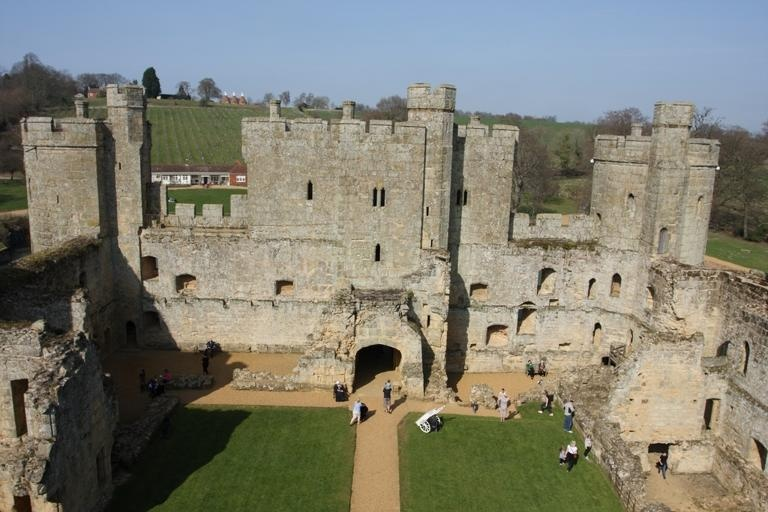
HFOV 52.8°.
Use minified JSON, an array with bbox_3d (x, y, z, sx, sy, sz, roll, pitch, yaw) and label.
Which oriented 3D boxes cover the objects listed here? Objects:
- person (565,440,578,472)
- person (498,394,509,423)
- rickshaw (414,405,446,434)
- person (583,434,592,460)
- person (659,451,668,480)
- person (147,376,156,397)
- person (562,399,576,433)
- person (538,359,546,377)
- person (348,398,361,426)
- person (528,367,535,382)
[{"bbox_3d":[10.391,11.037,43.035,0.630,1.283,1.163,5,14,20],"label":"person"},{"bbox_3d":[7.123,8.919,46.605,0.672,1.567,1.376,3,13,8],"label":"person"},{"bbox_3d":[2.701,9.696,45.275,1.834,0.593,1.051,-37,12,0],"label":"rickshaw"},{"bbox_3d":[11.567,10.747,43.935,0.455,1.099,0.924,5,13,17],"label":"person"},{"bbox_3d":[16.289,12.294,45.225,0.289,1.134,0.699,5,3,14],"label":"person"},{"bbox_3d":[-14.074,8.028,47.444,0.795,1.003,0.346,1,-3,24],"label":"person"},{"bbox_3d":[10.927,9.441,45.778,0.610,1.462,1.239,4,13,15],"label":"person"},{"bbox_3d":[10.663,7.505,52.294,0.436,0.925,1.013,3,13,10],"label":"person"},{"bbox_3d":[-1.681,9.045,45.787,0.688,1.262,1.536,1,13,0],"label":"person"},{"bbox_3d":[9.868,7.765,52.069,0.510,0.731,0.901,3,13,9],"label":"person"}]
